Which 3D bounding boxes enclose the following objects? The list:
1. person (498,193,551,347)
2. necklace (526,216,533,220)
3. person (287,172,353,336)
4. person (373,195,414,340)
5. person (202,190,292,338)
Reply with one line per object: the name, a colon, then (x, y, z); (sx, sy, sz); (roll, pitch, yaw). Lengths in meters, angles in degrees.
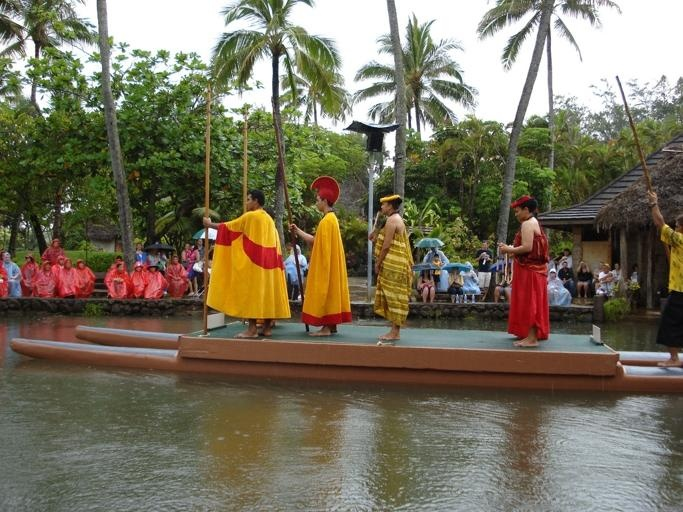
person: (2.390, 0.172, 8.812); (0.614, 1.828, 0.666); (8, 14, 36)
necklace: (2.447, -0.511, 8.897); (0.058, 0.064, 0.059); (1, -6, -29)
person: (-0.315, -0.006, 9.450); (0.740, 2.166, 0.742); (-2, -4, 20)
person: (0.690, 0.163, 9.064); (0.481, 1.897, 0.712); (0, 11, 3)
person: (-1.276, 0.092, 9.493); (0.997, 2.002, 0.993); (-6, -8, 26)
